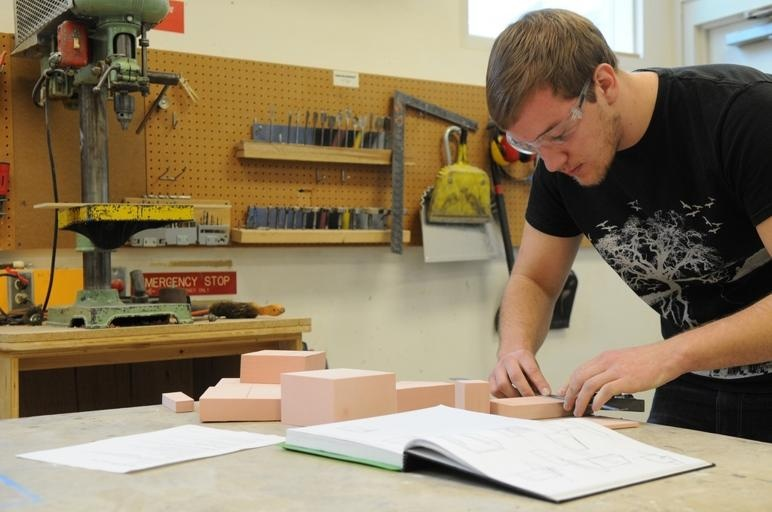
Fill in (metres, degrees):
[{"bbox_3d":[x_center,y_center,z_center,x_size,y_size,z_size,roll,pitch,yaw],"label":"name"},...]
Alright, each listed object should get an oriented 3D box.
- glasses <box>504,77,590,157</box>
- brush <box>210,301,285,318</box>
[{"bbox_3d":[0.487,-0.423,2.315,0.063,0.214,0.200,38,-17,-9],"label":"glasses"},{"bbox_3d":[-0.570,0.227,3.223,0.313,0.093,0.097,2,-9,-13],"label":"brush"}]
